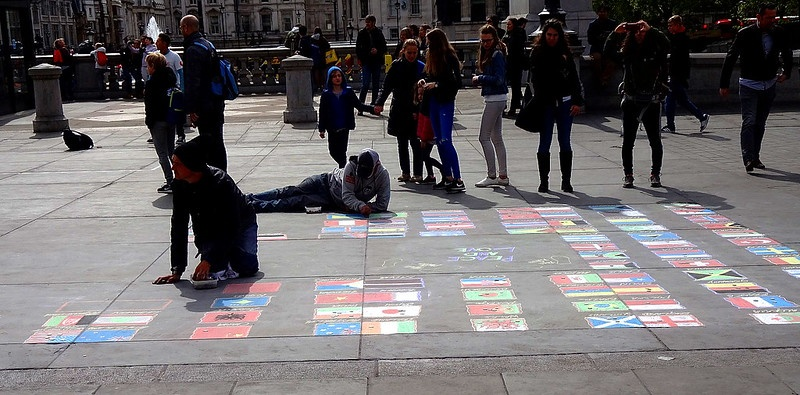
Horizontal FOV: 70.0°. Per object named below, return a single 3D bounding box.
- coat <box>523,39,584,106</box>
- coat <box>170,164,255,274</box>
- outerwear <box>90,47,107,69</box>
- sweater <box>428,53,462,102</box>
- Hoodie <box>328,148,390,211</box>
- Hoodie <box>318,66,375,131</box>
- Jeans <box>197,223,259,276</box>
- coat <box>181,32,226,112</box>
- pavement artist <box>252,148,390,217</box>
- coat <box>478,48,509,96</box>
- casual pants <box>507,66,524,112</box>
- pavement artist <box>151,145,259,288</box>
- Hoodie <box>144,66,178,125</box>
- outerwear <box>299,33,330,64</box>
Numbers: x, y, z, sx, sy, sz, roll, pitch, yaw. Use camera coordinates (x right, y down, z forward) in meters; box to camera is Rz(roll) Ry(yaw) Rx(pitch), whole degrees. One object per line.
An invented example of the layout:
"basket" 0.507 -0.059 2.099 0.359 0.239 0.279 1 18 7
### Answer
"coat" 2.793 -2.286 10.955 1.421 1.005 0.695 -7 8 -16
"coat" -2.509 0.338 7.721 1.399 1.169 1.225 -4 -7 -9
"outerwear" -13.538 -6.320 25.978 0.591 0.953 1.243 -14 21 -23
"sweater" 0.853 -2.281 10.873 0.675 0.901 0.475 -5 22 -2
"Hoodie" -0.732 -0.308 10.551 1.570 0.777 2.029 6 2 -11
"Hoodie" -1.254 -2.019 11.818 1.047 1.339 0.586 -12 23 -19
"Jeans" -2.298 0.695 7.621 0.936 0.465 0.785 -1 42 8
"coat" -3.711 -2.318 10.675 0.581 1.509 0.796 9 26 31
"pavement artist" -1.527 -0.128 10.479 3.211 0.876 1.014 -8 -8 37
"coat" 1.747 -2.351 10.786 0.492 0.843 0.437 1 23 14
"casual pants" 3.465 -3.257 17.441 0.661 1.448 0.529 3 16 20
"pavement artist" -2.557 0.209 7.502 1.275 1.872 0.726 -9 23 -12
"Hoodie" -4.679 -1.976 11.189 0.604 1.116 0.573 -7 22 -4
"outerwear" -3.392 -5.504 21.068 1.579 1.081 0.959 -1 11 6
